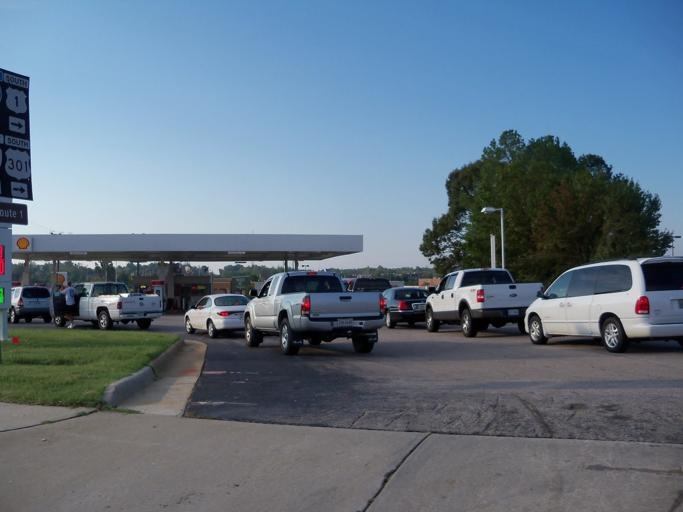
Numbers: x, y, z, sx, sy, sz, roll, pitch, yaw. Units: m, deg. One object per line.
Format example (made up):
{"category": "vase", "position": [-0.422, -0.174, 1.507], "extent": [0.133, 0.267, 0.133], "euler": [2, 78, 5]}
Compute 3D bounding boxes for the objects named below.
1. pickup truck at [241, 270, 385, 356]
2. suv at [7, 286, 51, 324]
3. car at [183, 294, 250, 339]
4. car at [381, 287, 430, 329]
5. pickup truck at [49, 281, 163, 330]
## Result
{"category": "pickup truck", "position": [-1.111, 1.570, 17.006], "extent": [1.930, 1.776, 4.170], "euler": [3, -3, -22]}
{"category": "suv", "position": [-17.371, 2.669, 32.568], "extent": [1.907, 2.095, 2.301], "euler": [1, -5, -35]}
{"category": "car", "position": [-5.084, 2.383, 23.576], "extent": [1.408, 1.213, 3.238], "euler": [1, 0, -27]}
{"category": "car", "position": [2.932, 2.313, 27.003], "extent": [1.238, 1.085, 3.027], "euler": [-1, -1, -8]}
{"category": "pickup truck", "position": [-10.667, 2.238, 26.665], "extent": [4.314, 2.331, 2.834], "euler": [-4, -5, 19]}
